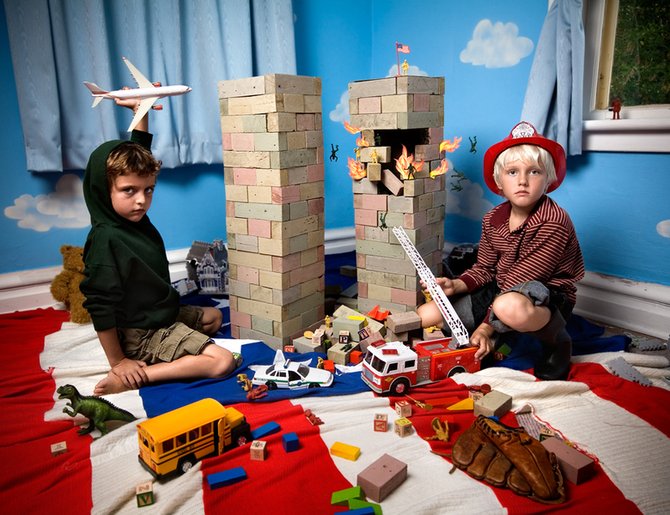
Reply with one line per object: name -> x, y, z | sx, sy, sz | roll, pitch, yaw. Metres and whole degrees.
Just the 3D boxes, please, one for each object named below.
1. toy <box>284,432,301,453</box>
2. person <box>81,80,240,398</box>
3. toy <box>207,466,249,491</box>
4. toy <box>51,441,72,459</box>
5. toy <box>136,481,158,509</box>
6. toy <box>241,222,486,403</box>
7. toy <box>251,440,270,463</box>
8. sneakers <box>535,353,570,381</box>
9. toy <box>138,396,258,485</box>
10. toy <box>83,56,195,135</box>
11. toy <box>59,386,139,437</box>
toy -> -0.148, 0.648, 1.731 | 0.056, 0.051, 0.054 | -3, 27, -9
person -> -0.803, -0.093, 2.192 | 0.708, 1.214, 0.814 | 19, 22, 40
toy -> -0.352, 0.719, 1.630 | 0.130, 0.032, 0.071 | -8, 17, -19
toy -> -0.969, 0.674, 1.752 | 0.046, 0.029, 0.048 | -8, 17, -19
toy -> -0.592, 0.748, 1.562 | 0.058, 0.055, 0.053 | -10, 18, -25
toy -> 0.130, 0.245, 2.105 | 0.935, 0.588, 0.394 | -8, 17, -19
toy -> -0.256, 0.661, 1.696 | 0.058, 0.054, 0.054 | 3, -5, 0
sneakers -> 0.955, 0.467, 2.140 | 0.169, 0.107, 0.123 | 0, 16, 9
toy -> -0.486, 0.603, 1.726 | 0.313, 0.144, 0.214 | -15, 24, -38
toy -> -0.877, -0.753, 2.265 | 0.496, 0.165, 0.445 | -5, 16, 10
toy -> -0.867, 0.577, 1.857 | 0.314, 0.166, 0.094 | 7, -1, -15
